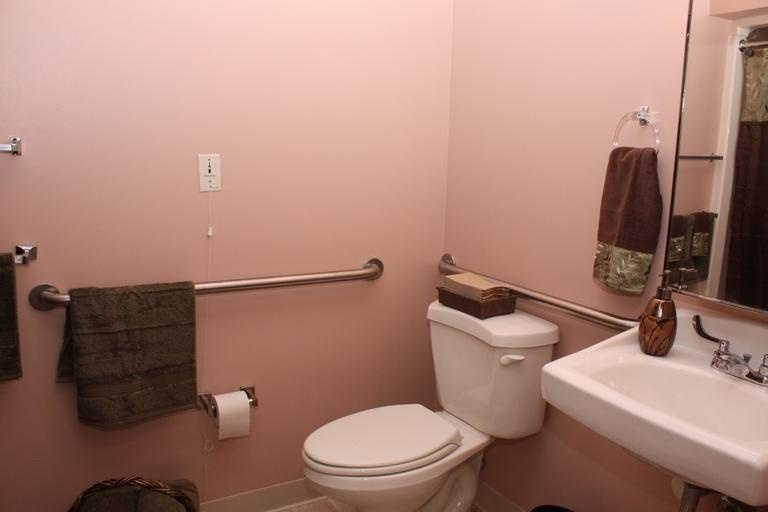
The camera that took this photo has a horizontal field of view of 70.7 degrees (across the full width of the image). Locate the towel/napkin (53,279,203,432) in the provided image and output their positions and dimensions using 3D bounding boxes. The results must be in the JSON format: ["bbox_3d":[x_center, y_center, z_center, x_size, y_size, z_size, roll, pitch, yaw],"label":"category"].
[{"bbox_3d":[-0.999,0.365,2.055,0.589,0.600,0.100,-2,9,-24],"label":"towel/napkin"}]

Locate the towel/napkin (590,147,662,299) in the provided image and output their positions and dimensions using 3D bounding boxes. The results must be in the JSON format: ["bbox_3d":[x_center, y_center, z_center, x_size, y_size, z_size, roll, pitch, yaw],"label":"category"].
[{"bbox_3d":[0.832,-0.120,1.845,0.194,0.484,0.134,7,17,37],"label":"towel/napkin"}]
